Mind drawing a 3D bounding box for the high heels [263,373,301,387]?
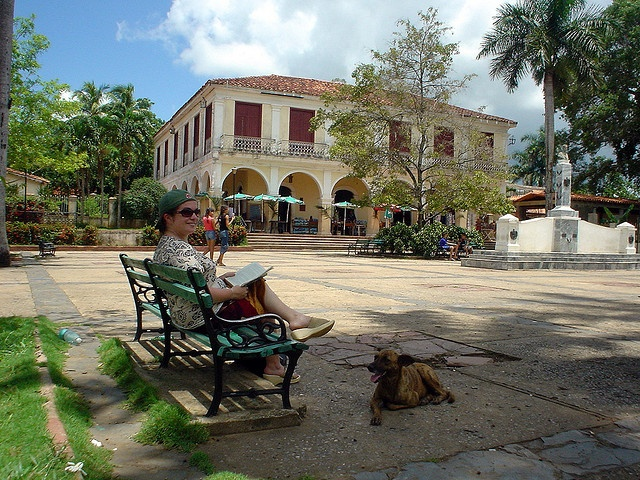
[{"bbox_3d":[-0.296,1.175,3.905,0.282,0.097,0.146,0,-1,-4],"label":"high heels"}]

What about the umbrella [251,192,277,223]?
[{"bbox_3d":[-3.492,-2.148,29.491,1.890,1.818,1.970,14,15,43],"label":"umbrella"}]

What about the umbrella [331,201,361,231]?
[{"bbox_3d":[1.696,-1.734,31.981,2.259,2.330,2.059,-1,10,5],"label":"umbrella"}]

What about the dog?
[{"bbox_3d":[0.700,1.146,3.864,0.463,0.495,1.181,-6,-10,38],"label":"dog"}]

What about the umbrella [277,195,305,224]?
[{"bbox_3d":[-2.037,-2.087,30.163,1.943,1.624,1.837,11,12,31],"label":"umbrella"}]

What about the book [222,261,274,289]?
[{"bbox_3d":[-0.592,0.290,3.901,0.293,0.104,0.309,-24,12,-39],"label":"book"}]
